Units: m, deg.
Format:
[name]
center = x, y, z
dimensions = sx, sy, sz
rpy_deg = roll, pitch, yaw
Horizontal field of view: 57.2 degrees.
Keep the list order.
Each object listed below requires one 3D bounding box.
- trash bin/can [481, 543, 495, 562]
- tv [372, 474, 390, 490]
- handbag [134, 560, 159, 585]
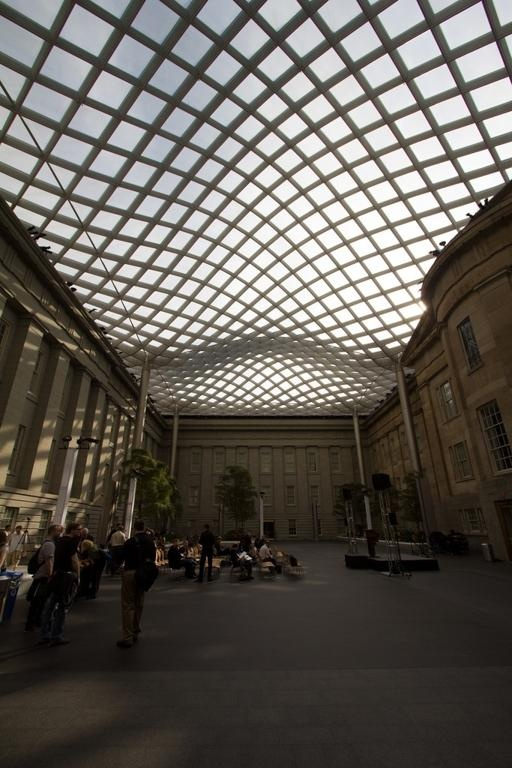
[trash bin/can]
center = 9.231, 6.529, 18.442
dimensions = 0.366, 0.764, 0.840
rpy_deg = -12, -25, 23
[tv]
center = 4.599, 3.451, 17.064
dimensions = 0.623, 0.577, 0.458
rpy_deg = -20, -28, 34
[handbag]
center = -1.570, 2.770, 6.856
dimensions = 0.270, 0.567, 0.414
rpy_deg = 1, -22, -2
